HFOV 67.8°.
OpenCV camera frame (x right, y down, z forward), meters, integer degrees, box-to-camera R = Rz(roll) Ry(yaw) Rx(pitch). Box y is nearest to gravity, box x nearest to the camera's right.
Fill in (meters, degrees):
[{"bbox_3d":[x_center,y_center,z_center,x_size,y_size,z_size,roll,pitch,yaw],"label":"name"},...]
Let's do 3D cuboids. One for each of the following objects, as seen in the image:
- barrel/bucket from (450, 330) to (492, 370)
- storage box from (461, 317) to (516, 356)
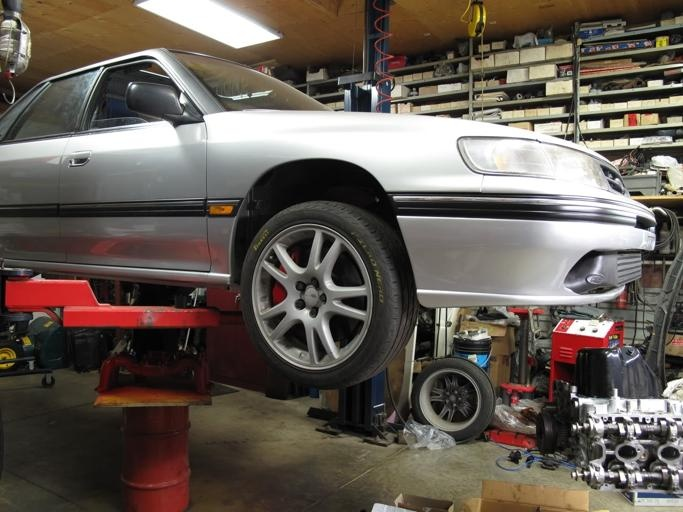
[{"bbox_3d":[1.117,0.903,4.442,0.331,0.322,0.321,1,-9,0],"label":"barrel/bucket"},{"bbox_3d":[1.440,0.735,4.998,0.403,0.274,0.450,0,0,29],"label":"storage box"}]
